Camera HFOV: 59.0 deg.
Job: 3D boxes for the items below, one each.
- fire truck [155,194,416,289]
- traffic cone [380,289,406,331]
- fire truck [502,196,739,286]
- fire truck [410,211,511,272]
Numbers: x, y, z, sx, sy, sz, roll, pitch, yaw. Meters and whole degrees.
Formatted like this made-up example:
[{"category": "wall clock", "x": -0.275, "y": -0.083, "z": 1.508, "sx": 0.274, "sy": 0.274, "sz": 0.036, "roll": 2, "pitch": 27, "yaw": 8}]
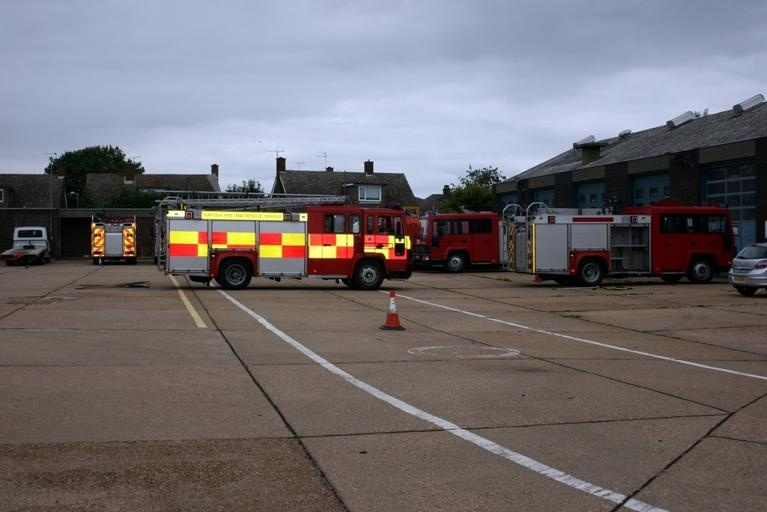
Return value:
[{"category": "fire truck", "x": -3.510, "y": -0.283, "z": 24.561, "sx": 8.627, "sy": 3.096, "sz": 0.925, "roll": 0, "pitch": 3, "yaw": -9}, {"category": "traffic cone", "x": 0.187, "y": 1.220, "z": 15.431, "sx": 0.652, "sy": 0.809, "sz": 0.735, "roll": -2, "pitch": 4, "yaw": -23}, {"category": "fire truck", "x": 10.017, "y": -0.467, "z": 28.113, "sx": 12.144, "sy": 4.119, "sz": 3.170, "roll": 0, "pitch": -1, "yaw": -1}, {"category": "fire truck", "x": 4.142, "y": -0.757, "z": 37.107, "sx": 4.407, "sy": 3.296, "sz": 1.564, "roll": 1, "pitch": 3, "yaw": 6}]
